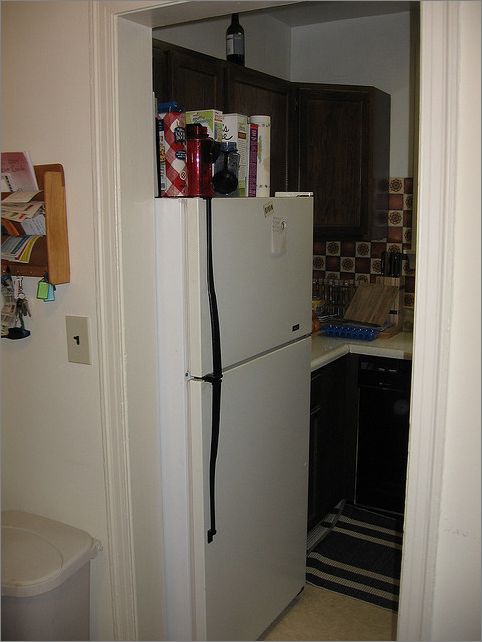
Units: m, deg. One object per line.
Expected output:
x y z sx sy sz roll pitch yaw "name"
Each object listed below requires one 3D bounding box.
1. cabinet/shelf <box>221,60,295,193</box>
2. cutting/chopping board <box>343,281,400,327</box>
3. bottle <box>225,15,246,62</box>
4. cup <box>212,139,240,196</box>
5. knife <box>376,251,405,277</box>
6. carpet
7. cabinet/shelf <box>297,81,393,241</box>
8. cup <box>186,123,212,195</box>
0.057 -0.823 2.470 0.151 0.503 0.466 2 11 36 "cabinet/shelf"
0.704 -0.094 3.041 0.251 0.200 0.181 7 12 36 "cutting/chopping board"
-0.028 -1.127 2.236 0.067 0.233 0.182 -1 10 -2 "bottle"
-0.039 -0.415 1.536 0.068 0.147 0.032 -6 8 -31 "cup"
0.823 -0.314 3.078 0.120 0.148 0.055 4 10 22 "knife"
0.472 1.010 2.374 0.425 0.028 0.482 -21 18 -40 "carpet"
0.549 -0.777 2.805 0.650 0.733 0.236 -8 12 -38 "cabinet/shelf"
-0.104 -0.406 1.422 0.069 0.186 0.128 -1 9 -6 "cup"
